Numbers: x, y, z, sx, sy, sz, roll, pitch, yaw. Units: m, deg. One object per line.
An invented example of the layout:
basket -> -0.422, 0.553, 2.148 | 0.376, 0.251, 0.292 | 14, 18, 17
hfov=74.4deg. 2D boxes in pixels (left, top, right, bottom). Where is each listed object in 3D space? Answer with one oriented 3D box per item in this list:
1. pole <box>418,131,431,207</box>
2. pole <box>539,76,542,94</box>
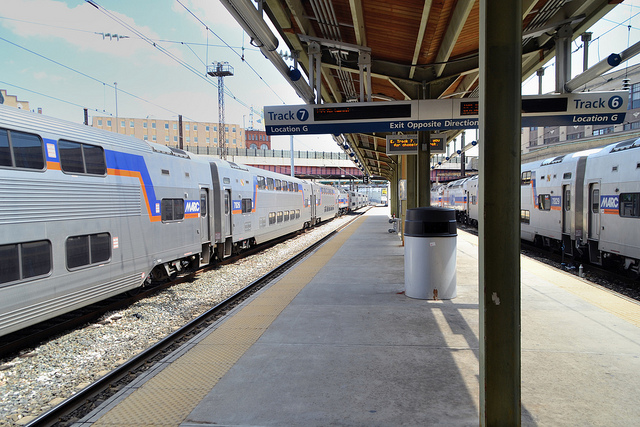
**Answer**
pole -> 3.609, -1.585, 14.639 | 0.406, 2.599, 0.559 | 0, 9, 9
pole -> 7.368, -4.361, 14.065 | 0.085, 0.552, 0.455 | 4, 11, 30
